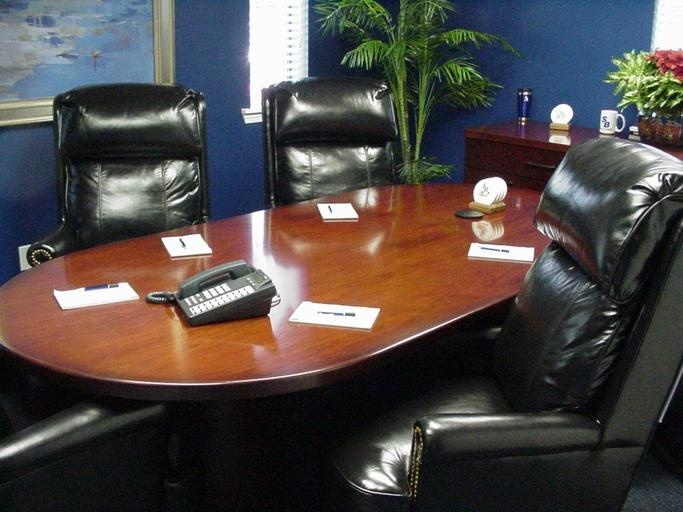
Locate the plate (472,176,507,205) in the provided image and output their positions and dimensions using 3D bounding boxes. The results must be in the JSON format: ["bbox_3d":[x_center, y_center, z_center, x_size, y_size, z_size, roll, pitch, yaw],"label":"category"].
[{"bbox_3d":[0.744,-0.332,2.658,0.138,0.149,0.167,6,12,44],"label":"plate"}]

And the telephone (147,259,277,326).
[{"bbox_3d":[-0.369,0.077,1.621,0.288,0.098,0.211,-4,20,-32],"label":"telephone"}]

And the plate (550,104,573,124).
[{"bbox_3d":[1.628,-1.029,3.834,0.161,0.168,0.038,-12,-10,41],"label":"plate"}]

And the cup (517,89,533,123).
[{"bbox_3d":[1.405,-1.154,3.997,0.135,0.248,0.070,-19,31,-28],"label":"cup"}]
